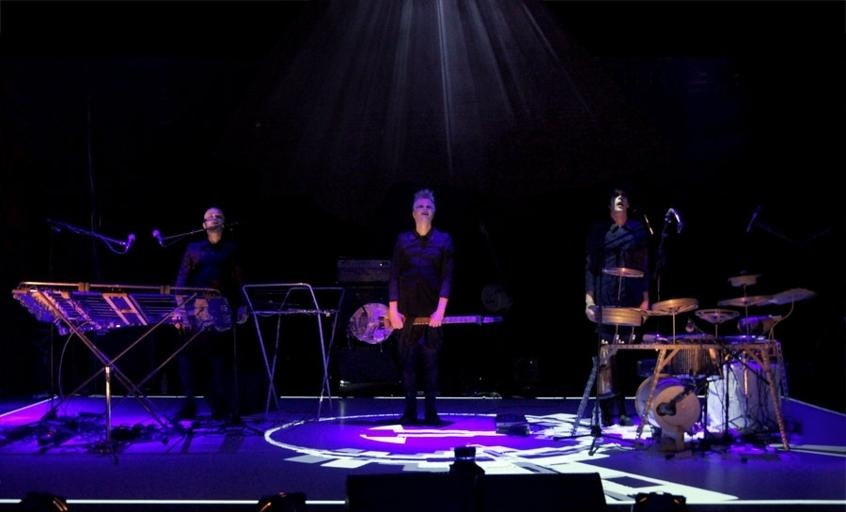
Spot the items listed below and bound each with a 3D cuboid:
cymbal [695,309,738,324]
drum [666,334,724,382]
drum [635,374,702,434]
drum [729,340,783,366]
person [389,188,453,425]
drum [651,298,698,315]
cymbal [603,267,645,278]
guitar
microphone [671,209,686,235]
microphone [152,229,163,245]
[{"bbox_3d":[3.258,0.671,8.883,0.359,0.088,0.348,4,-7,-34],"label":"cymbal"},{"bbox_3d":[3.018,1.152,8.857,0.497,0.427,0.506,-6,-8,44],"label":"drum"},{"bbox_3d":[2.850,1.798,8.921,0.601,0.545,0.665,5,-25,4],"label":"drum"},{"bbox_3d":[3.780,1.027,8.863,0.461,0.224,0.445,-1,2,0],"label":"drum"},{"bbox_3d":[-0.036,0.601,9.699,0.762,2.837,0.486,1,-13,-3],"label":"person"},{"bbox_3d":[2.737,0.528,8.645,0.474,0.196,0.472,0,-13,0],"label":"drum"},{"bbox_3d":[2.235,0.182,8.700,0.266,0.076,0.259,2,-1,-8],"label":"cymbal"},{"bbox_3d":[-0.037,0.905,10.441,2.118,0.592,0.733,-1,-4,8],"label":"guitar"},{"bbox_3d":[3.610,-0.478,11.132,0.069,0.281,0.299,-27,-30,34],"label":"microphone"},{"bbox_3d":[-3.668,-0.275,10.923,0.134,0.131,0.300,38,-5,-12],"label":"microphone"}]
